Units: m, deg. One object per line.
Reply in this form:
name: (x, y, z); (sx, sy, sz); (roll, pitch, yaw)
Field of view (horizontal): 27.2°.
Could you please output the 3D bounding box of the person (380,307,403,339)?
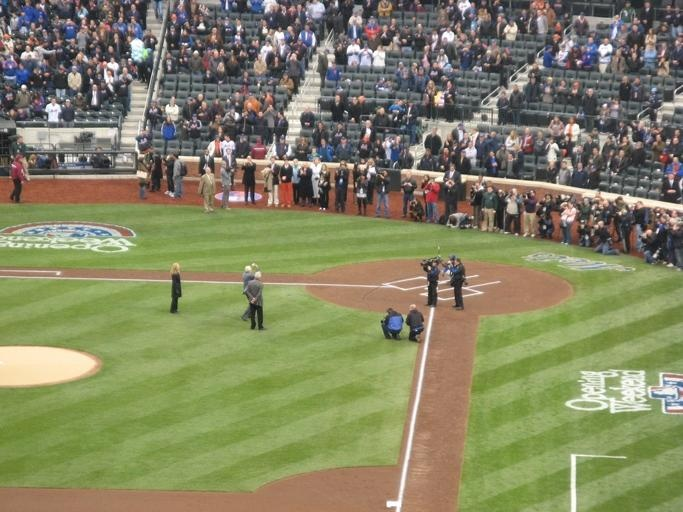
person: (1.981, 2.572, 54.016); (0.933, 1.201, 1.118); (-3, 21, -7)
